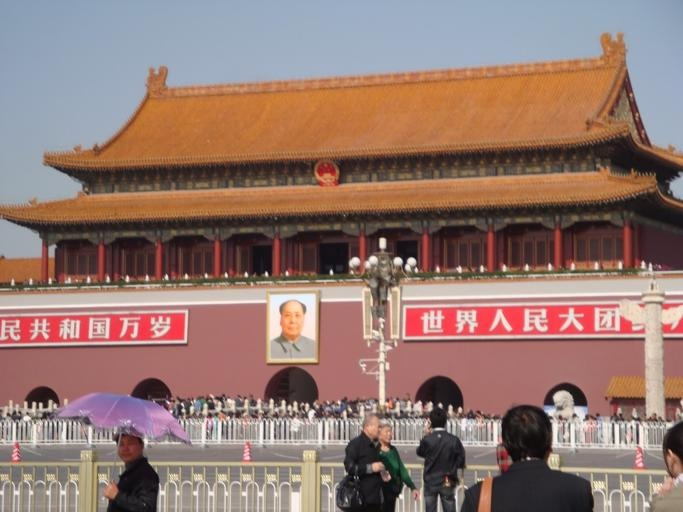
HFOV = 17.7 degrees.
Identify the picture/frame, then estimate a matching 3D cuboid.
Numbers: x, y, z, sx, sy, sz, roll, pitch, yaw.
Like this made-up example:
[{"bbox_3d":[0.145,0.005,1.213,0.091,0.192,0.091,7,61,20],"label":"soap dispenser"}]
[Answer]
[{"bbox_3d":[-1.491,2.275,68.692,1.549,2.344,0.472,-4,-6,32],"label":"picture/frame"}]
